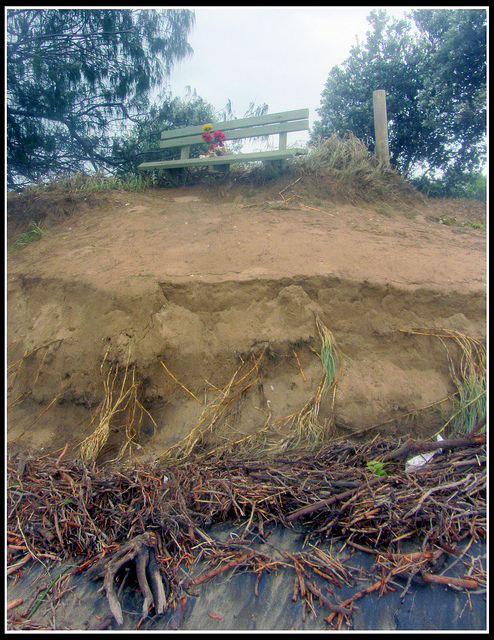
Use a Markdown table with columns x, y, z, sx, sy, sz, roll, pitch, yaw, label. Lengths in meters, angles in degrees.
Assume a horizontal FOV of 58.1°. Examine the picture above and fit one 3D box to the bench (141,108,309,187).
| x | y | z | sx | sy | sz | roll | pitch | yaw | label |
| --- | --- | --- | --- | --- | --- | --- | --- | --- | --- |
| -0.462 | -2.613 | 6.905 | 2.748 | 1.170 | 0.805 | 6 | 2 | 30 | bench |
